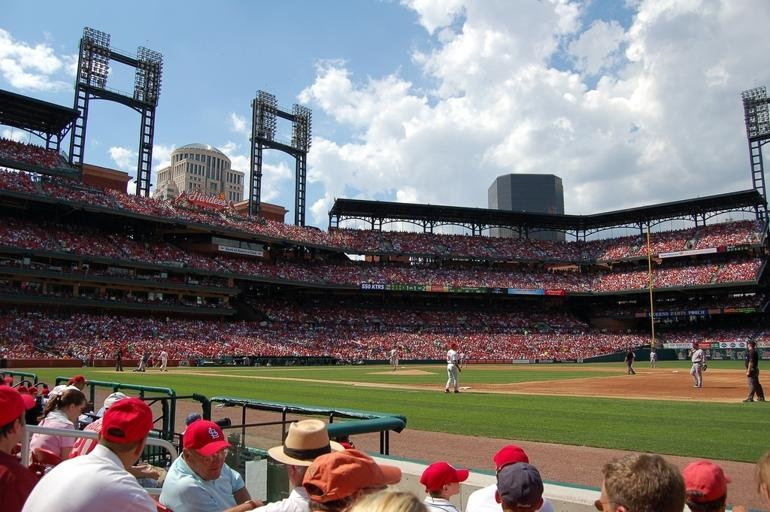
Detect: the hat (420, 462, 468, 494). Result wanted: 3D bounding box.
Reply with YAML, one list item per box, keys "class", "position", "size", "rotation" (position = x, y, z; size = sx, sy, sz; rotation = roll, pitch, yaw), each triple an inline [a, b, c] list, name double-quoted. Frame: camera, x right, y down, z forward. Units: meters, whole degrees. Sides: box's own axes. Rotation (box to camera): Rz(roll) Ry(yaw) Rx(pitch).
- class: "hat"
  position: [1.083, 3.920, 11.645]
  size: [0.908, 0.362, 0.517]
  rotation: [-7, 1, -14]

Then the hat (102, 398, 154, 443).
- class: "hat"
  position: [-4.304, 2.721, 11.135]
  size: [0.588, 0.415, 0.847]
  rotation: [7, 10, -10]

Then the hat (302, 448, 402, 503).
- class: "hat"
  position: [-0.559, 3.472, 10.564]
  size: [1.216, 0.425, 0.807]
  rotation: [-1, 0, -22]

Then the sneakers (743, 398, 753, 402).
- class: "sneakers"
  position: [13.164, 5.212, 23.784]
  size: [0.290, 0.154, 0.677]
  rotation: [-5, -12, 28]

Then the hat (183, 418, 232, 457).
- class: "hat"
  position: [-3.299, 3.298, 12.146]
  size: [1.052, 0.567, 0.757]
  rotation: [-6, -3, 45]
